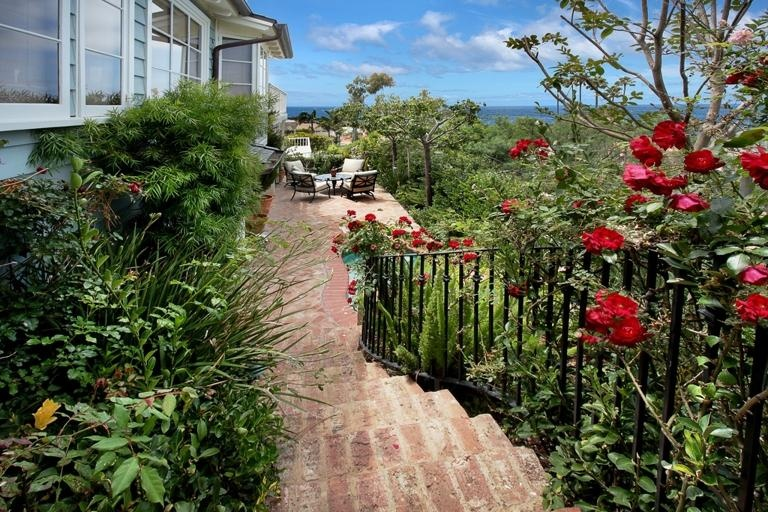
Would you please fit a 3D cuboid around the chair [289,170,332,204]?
[{"bbox_3d":[-2.208,-2.156,14.591,0.887,0.892,1.180,10,26,19],"label":"chair"}]

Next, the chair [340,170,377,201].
[{"bbox_3d":[-0.784,-2.237,14.898,0.861,0.888,1.069,-9,41,-17],"label":"chair"}]
